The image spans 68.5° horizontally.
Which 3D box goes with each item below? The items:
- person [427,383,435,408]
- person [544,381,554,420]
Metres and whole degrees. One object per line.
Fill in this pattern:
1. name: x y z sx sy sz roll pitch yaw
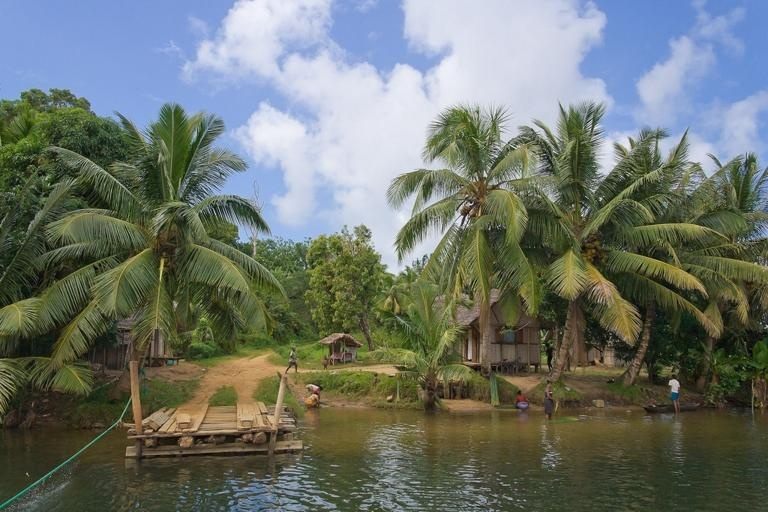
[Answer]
1. person: 2.441 7.376 29.507 0.501 1.216 0.286 1 -1 7
2. person: 8.003 7.026 27.275 0.407 1.408 1.648 1 -2 18
